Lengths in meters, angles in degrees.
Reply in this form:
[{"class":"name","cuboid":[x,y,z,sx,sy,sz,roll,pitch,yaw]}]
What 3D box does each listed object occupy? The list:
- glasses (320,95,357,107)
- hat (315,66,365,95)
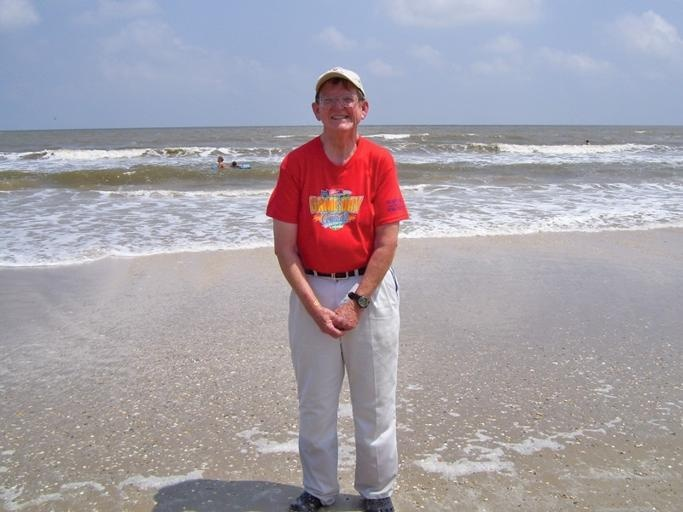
[{"class":"glasses","cuboid":[-0.019,-0.918,3.263,0.215,0.065,0.057,1,12,4]},{"class":"hat","cuboid":[-0.012,-1.029,3.241,0.269,0.144,0.129,0,12,-1]}]
